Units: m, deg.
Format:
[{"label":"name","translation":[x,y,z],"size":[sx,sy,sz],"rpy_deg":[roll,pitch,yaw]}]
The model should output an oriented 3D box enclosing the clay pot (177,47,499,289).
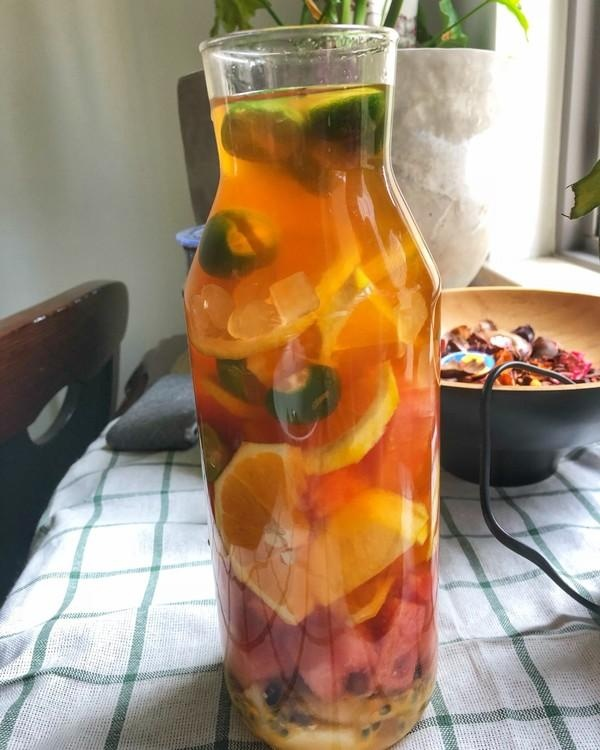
[{"label":"clay pot","translation":[0.031,-0.217,0.865],"size":[0.355,0.289,0.391],"rpy_deg":[-5,11,-1]}]
